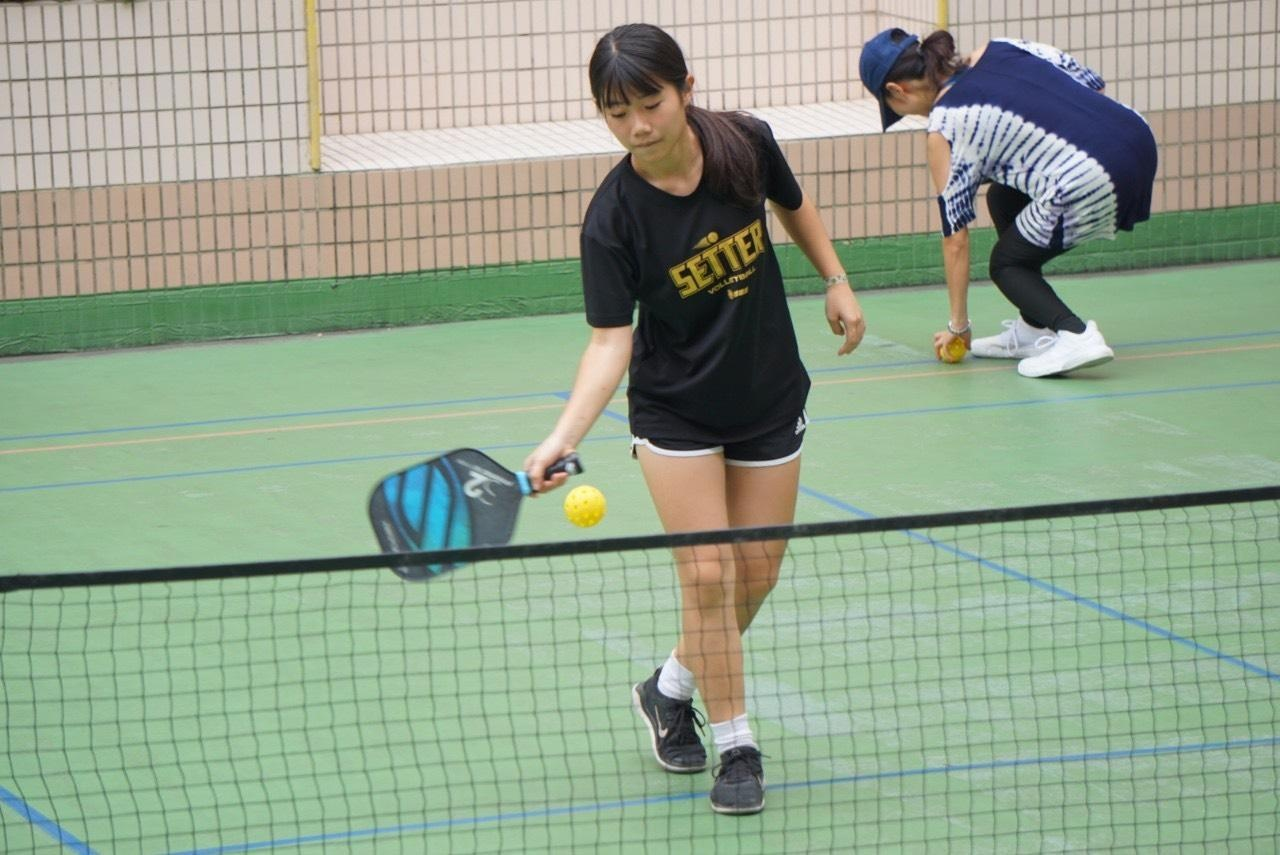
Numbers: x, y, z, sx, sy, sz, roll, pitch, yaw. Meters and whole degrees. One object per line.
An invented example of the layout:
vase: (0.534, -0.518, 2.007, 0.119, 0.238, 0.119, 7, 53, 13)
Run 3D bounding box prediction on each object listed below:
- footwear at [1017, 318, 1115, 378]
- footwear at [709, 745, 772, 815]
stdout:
footwear: (2.673, -0.481, 9.236, 0.275, 0.313, 0.742, 6, -16, -44)
footwear: (0.356, 1.258, 5.276, 0.199, 0.142, 0.418, -2, 12, 7)
